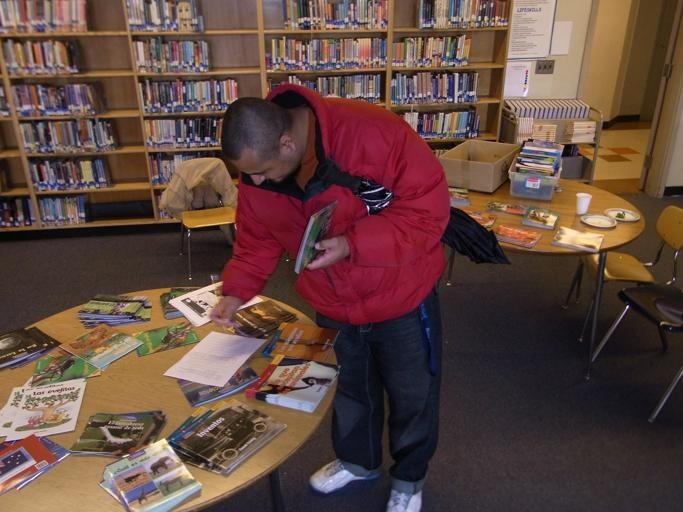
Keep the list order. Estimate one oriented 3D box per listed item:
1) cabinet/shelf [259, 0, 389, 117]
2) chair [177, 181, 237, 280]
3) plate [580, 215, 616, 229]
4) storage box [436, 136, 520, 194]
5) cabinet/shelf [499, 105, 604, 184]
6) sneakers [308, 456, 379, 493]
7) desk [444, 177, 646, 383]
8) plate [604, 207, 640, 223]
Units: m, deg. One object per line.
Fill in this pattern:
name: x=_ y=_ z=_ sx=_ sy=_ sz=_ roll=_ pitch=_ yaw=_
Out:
cabinet/shelf: x=-0.128 y=-2.024 z=4.811 sx=1.237 sy=0.950 sz=0.290 roll=-3 pitch=25 yaw=-5
chair: x=-1.300 y=-0.319 z=4.579 sx=0.552 sy=0.766 sz=0.968 roll=-9 pitch=23 yaw=-17
plate: x=1.680 y=-0.223 z=3.118 sx=0.134 sy=0.015 sz=0.131 roll=-24 pitch=32 yaw=-33
storage box: x=1.067 y=-0.688 z=3.661 sx=0.606 sy=0.242 sz=0.604 roll=16 pitch=34 yaw=30
cabinet/shelf: x=2.201 y=-1.224 z=5.386 sx=1.073 sy=0.772 sz=0.695 roll=-2 pitch=20 yaw=-10
sneakers: x=-0.023 y=1.120 z=2.477 sx=0.444 sy=0.148 sz=0.140 roll=-5 pitch=46 yaw=-4
desk: x=1.454 y=0.188 z=3.545 sx=1.557 sy=0.821 sz=1.310 roll=-6 pitch=32 yaw=-5
plate: x=1.883 y=-0.276 z=3.222 sx=0.151 sy=0.028 sz=0.134 roll=-9 pitch=25 yaw=-11
